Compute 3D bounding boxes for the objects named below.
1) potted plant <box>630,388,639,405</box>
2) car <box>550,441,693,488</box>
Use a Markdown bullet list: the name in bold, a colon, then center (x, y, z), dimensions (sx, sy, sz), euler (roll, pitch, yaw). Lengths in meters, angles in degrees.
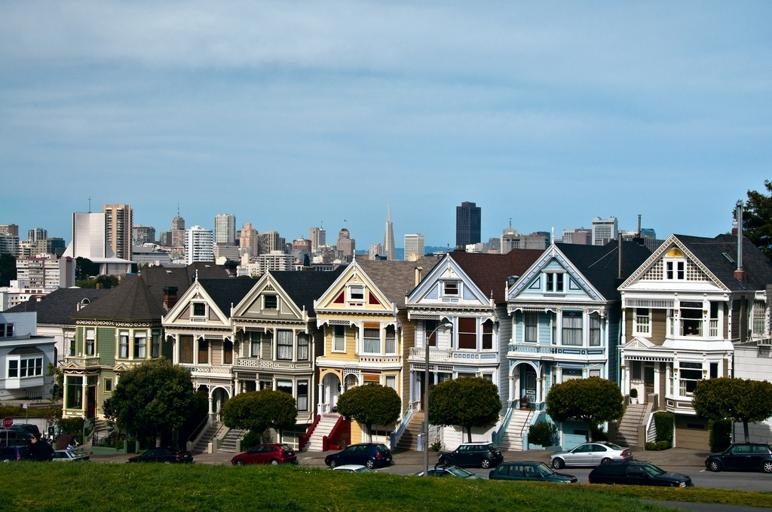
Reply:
- **potted plant**: center (21.075, 12.212, 146.575), dimensions (0.732, 1.291, 0.292), euler (-1, -7, 4)
- **car**: center (17.735, 16.514, 131.486), dimensions (7.789, 2.246, 3.208), euler (-4, -4, 25)
